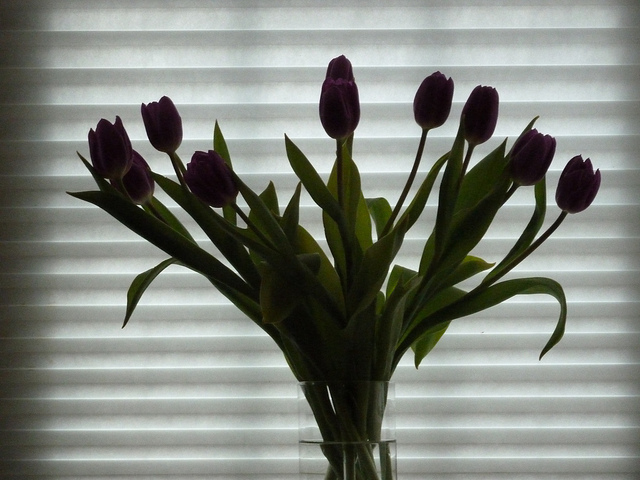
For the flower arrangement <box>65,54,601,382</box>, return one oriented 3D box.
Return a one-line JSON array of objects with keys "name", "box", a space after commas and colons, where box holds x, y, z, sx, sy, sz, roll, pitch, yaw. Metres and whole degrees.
[{"name": "flower arrangement", "box": [0.048, 0.003, 1.593, 0.735, 0.504, 0.751, -4, -8, 39]}]
